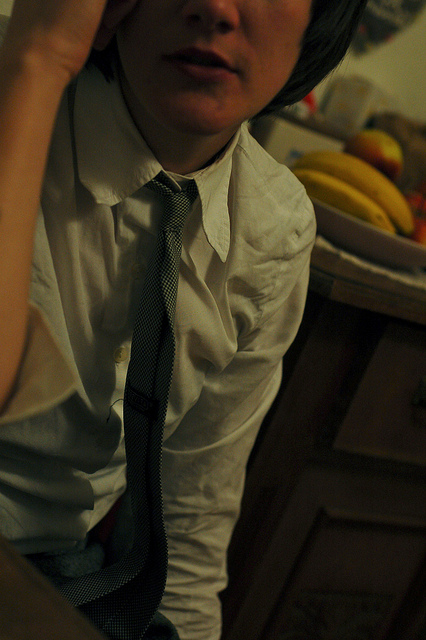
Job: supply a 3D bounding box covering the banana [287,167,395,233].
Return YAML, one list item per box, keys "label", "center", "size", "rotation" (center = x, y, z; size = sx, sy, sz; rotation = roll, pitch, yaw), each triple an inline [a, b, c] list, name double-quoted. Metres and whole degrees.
- label: "banana"
  center: [0.167, -0.154, 0.921]
  size: [0.159, 0.050, 0.031]
  rotation: [26, 77, 26]

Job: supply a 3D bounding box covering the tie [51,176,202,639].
- label: "tie"
  center: [-0.066, 0.090, 0.618]
  size: [0.162, 0.410, 0.049]
  rotation: [4, 8, -7]
